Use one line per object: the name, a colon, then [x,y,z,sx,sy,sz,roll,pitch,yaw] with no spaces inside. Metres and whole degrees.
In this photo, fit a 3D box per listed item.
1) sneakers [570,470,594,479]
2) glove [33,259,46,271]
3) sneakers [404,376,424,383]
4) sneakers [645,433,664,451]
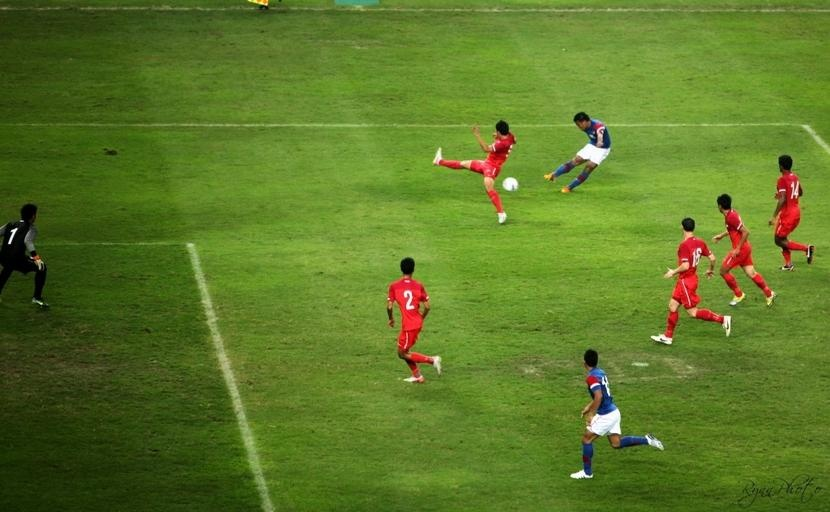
sneakers: [3.215,4.238,24.722,0.521,0.132,0.147,1,0,5]
glove: [-8.296,0.184,28.168,0.156,0.265,0.314,0,10,13]
sneakers: [-0.020,2.586,26.761,0.488,0.127,0.139,3,10,7]
sneakers: [4.692,3.654,24.929,0.282,0.174,0.615,-21,-36,34]
